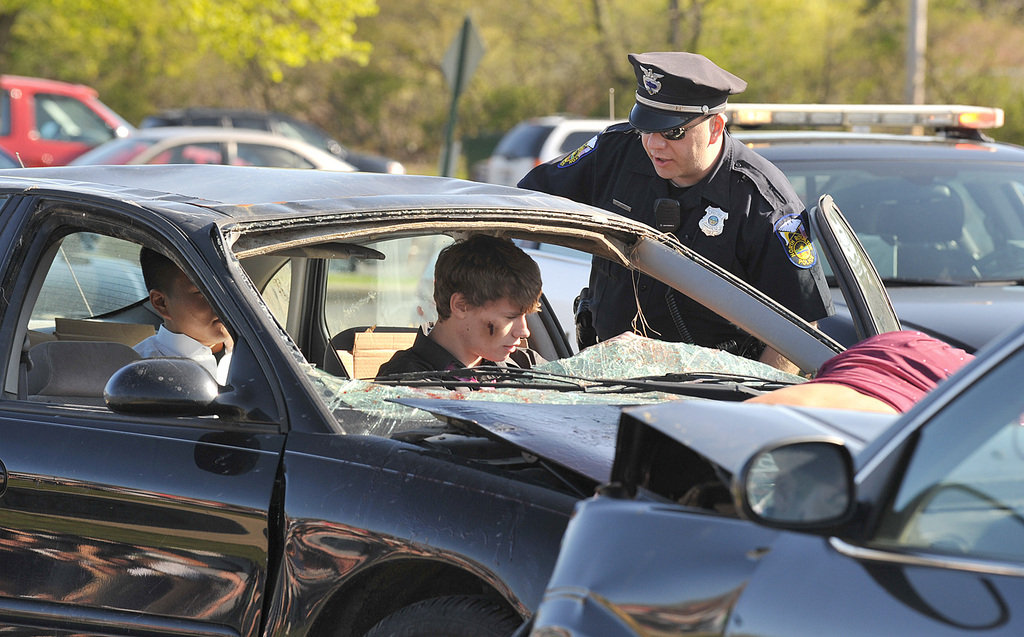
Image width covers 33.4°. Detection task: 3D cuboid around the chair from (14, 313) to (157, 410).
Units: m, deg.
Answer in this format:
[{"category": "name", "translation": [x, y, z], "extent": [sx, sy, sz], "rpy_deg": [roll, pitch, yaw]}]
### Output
[{"category": "chair", "translation": [-1.677, 0.141, 6.642], "extent": [0.444, 0.375, 0.390], "rpy_deg": [3, -18, -9]}]

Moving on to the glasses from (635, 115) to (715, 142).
[{"category": "glasses", "translation": [0.746, -0.836, 7.572], "extent": [0.171, 0.051, 0.168], "rpy_deg": [-47, 37, -14]}]

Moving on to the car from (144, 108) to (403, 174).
[{"category": "car", "translation": [-3.932, -2.286, 23.344], "extent": [0.758, 0.889, 3.806], "rpy_deg": [-21, 13, -40]}]

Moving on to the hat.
[{"category": "hat", "translation": [0.778, -1.041, 7.727], "extent": [0.613, 0.276, 0.508], "rpy_deg": [-10, 23, -23]}]

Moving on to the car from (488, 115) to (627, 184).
[{"category": "car", "translation": [0.442, -2.046, 20.390], "extent": [0.976, 0.746, 1.895], "rpy_deg": [14, 28, 29]}]
